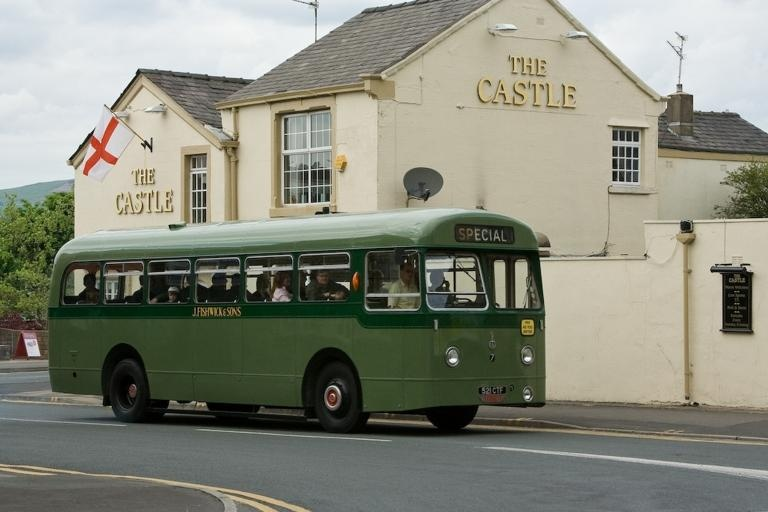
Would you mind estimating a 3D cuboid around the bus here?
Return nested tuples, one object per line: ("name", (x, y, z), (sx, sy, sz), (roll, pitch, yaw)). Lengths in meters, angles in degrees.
("bus", (-2.617, 1.461, 26.386), (12.154, 4.857, 3.907), (-2, 0, 38))
